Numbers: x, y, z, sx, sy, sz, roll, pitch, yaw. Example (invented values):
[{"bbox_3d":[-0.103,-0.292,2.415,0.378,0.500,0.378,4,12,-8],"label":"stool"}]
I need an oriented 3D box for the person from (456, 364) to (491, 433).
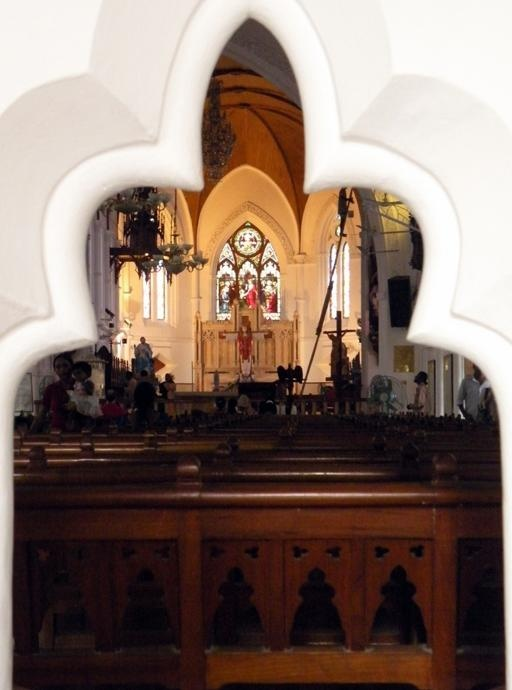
[{"bbox_3d":[1.695,0.514,10.624,0.240,0.838,0.207,-5,39,-1],"label":"person"}]

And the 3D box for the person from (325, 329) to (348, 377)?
[{"bbox_3d":[1.249,0.160,20.728,0.262,0.902,0.205,3,-21,-7],"label":"person"}]
